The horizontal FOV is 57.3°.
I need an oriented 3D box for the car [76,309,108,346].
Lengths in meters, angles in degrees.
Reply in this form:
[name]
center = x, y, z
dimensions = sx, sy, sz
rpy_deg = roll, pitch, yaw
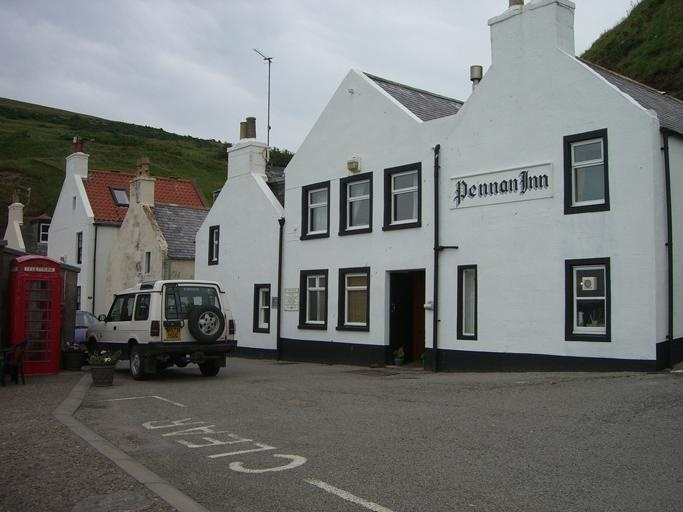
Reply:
[car]
center = -8.472, 2.460, 21.064
dimensions = 0.980, 1.045, 1.764
rpy_deg = 5, -14, -34

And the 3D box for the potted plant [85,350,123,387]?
[potted plant]
center = -5.717, 2.718, 15.064
dimensions = 0.623, 0.816, 0.596
rpy_deg = 2, -5, -26

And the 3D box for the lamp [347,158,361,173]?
[lamp]
center = 0.401, -2.928, 20.093
dimensions = 0.224, 0.443, 0.389
rpy_deg = 12, -16, -40

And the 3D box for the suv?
[suv]
center = -4.951, 1.930, 17.097
dimensions = 2.068, 2.046, 3.805
rpy_deg = 4, -3, -37
